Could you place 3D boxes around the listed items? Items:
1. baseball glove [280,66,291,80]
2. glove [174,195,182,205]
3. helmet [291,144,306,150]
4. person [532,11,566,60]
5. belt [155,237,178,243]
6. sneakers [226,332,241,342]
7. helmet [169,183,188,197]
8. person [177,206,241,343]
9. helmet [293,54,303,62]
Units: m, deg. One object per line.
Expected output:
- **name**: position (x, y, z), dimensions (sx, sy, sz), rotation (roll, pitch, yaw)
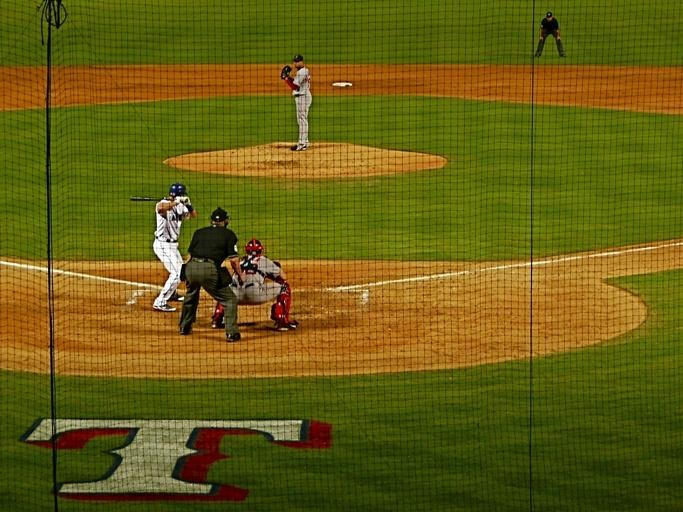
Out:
- **baseball glove**: position (-1.305, -4.544, 27.588), dimensions (0.142, 0.303, 0.457), rotation (1, -10, -21)
- **glove**: position (-3.155, -1.095, 21.691), dimensions (0.116, 0.045, 0.164), rotation (14, 40, 20)
- **helmet**: position (-1.072, -2.788, 28.322), dimensions (0.358, 0.170, 0.155), rotation (1, 34, 6)
- **person**: position (5.801, -6.292, 31.380), dimensions (0.782, 1.235, 0.670), rotation (-2, 27, 9)
- **belt**: position (-3.373, -0.322, 21.800), dimensions (0.385, 0.113, 0.101), rotation (-2, 13, -9)
- **sneakers**: position (-1.978, 1.485, 20.691), dimensions (0.267, 0.124, 0.114), rotation (5, 0, -44)
- **helmet**: position (-3.168, -1.316, 21.863), dimensions (0.277, 0.246, 0.343), rotation (0, 13, -1)
- **person**: position (-2.389, 0.503, 20.598), dimensions (1.064, 2.173, 0.526), rotation (-1, 12, -3)
- **helmet**: position (-1.048, -4.911, 27.696), dimensions (0.262, 0.148, 0.391), rotation (0, 12, -2)
